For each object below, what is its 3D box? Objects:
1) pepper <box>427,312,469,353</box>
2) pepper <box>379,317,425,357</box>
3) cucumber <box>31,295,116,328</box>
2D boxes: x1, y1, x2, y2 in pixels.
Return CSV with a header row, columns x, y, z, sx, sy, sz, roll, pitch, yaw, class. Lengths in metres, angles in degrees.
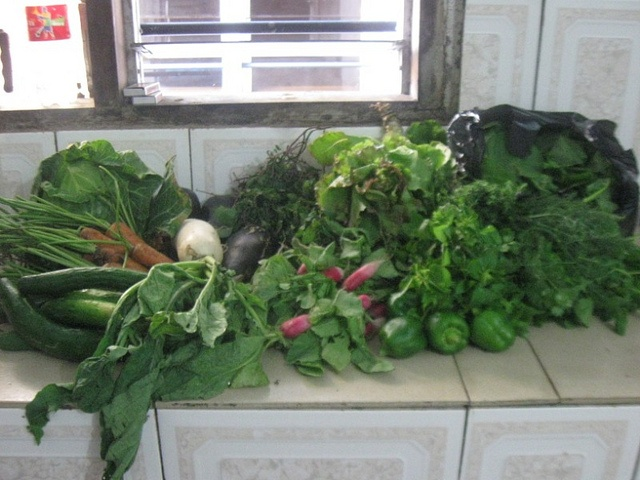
x,y,z,sx,sy,sz,roll,pitch,yaw,class
0.385,0.279,1.689,0.117,0.122,0.126,-6,20,-14,pepper
0.255,0.299,1.641,0.140,0.128,0.073,-2,19,-2,pepper
-0.715,0.208,1.616,0.228,0.104,0.079,6,10,8,cucumber
